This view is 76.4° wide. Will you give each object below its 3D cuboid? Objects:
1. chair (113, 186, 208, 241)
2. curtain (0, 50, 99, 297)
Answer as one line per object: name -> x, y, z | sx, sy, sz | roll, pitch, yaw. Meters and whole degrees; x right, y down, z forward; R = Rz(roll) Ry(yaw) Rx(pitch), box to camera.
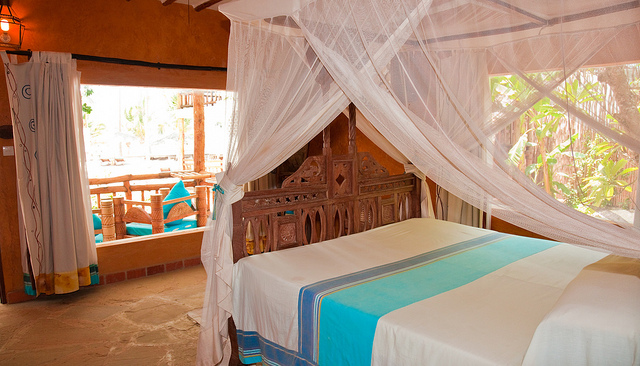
chair -> -2.319, 0.500, 5.949 | 1.167, 0.652, 1.200 | -8, 6, -30
curtain -> -2.885, -0.102, 4.452 | 0.678, 2.614, 0.357 | -5, 9, -15
